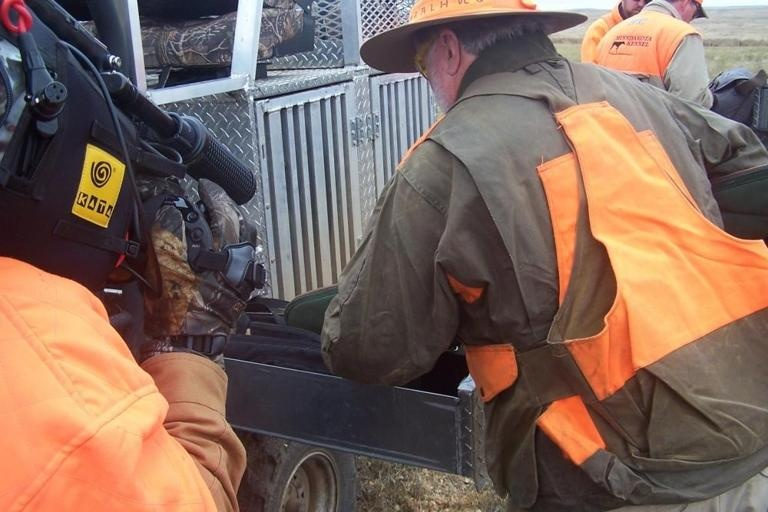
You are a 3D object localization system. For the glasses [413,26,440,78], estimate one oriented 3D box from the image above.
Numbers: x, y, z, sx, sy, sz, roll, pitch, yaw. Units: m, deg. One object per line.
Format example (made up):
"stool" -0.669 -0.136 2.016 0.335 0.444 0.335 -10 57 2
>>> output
"glasses" 0.155 -0.806 2.264 0.117 0.036 0.118 -45 -5 4

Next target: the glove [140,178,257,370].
"glove" -0.502 0.048 1.908 0.367 0.580 0.544 -1 -26 -3
